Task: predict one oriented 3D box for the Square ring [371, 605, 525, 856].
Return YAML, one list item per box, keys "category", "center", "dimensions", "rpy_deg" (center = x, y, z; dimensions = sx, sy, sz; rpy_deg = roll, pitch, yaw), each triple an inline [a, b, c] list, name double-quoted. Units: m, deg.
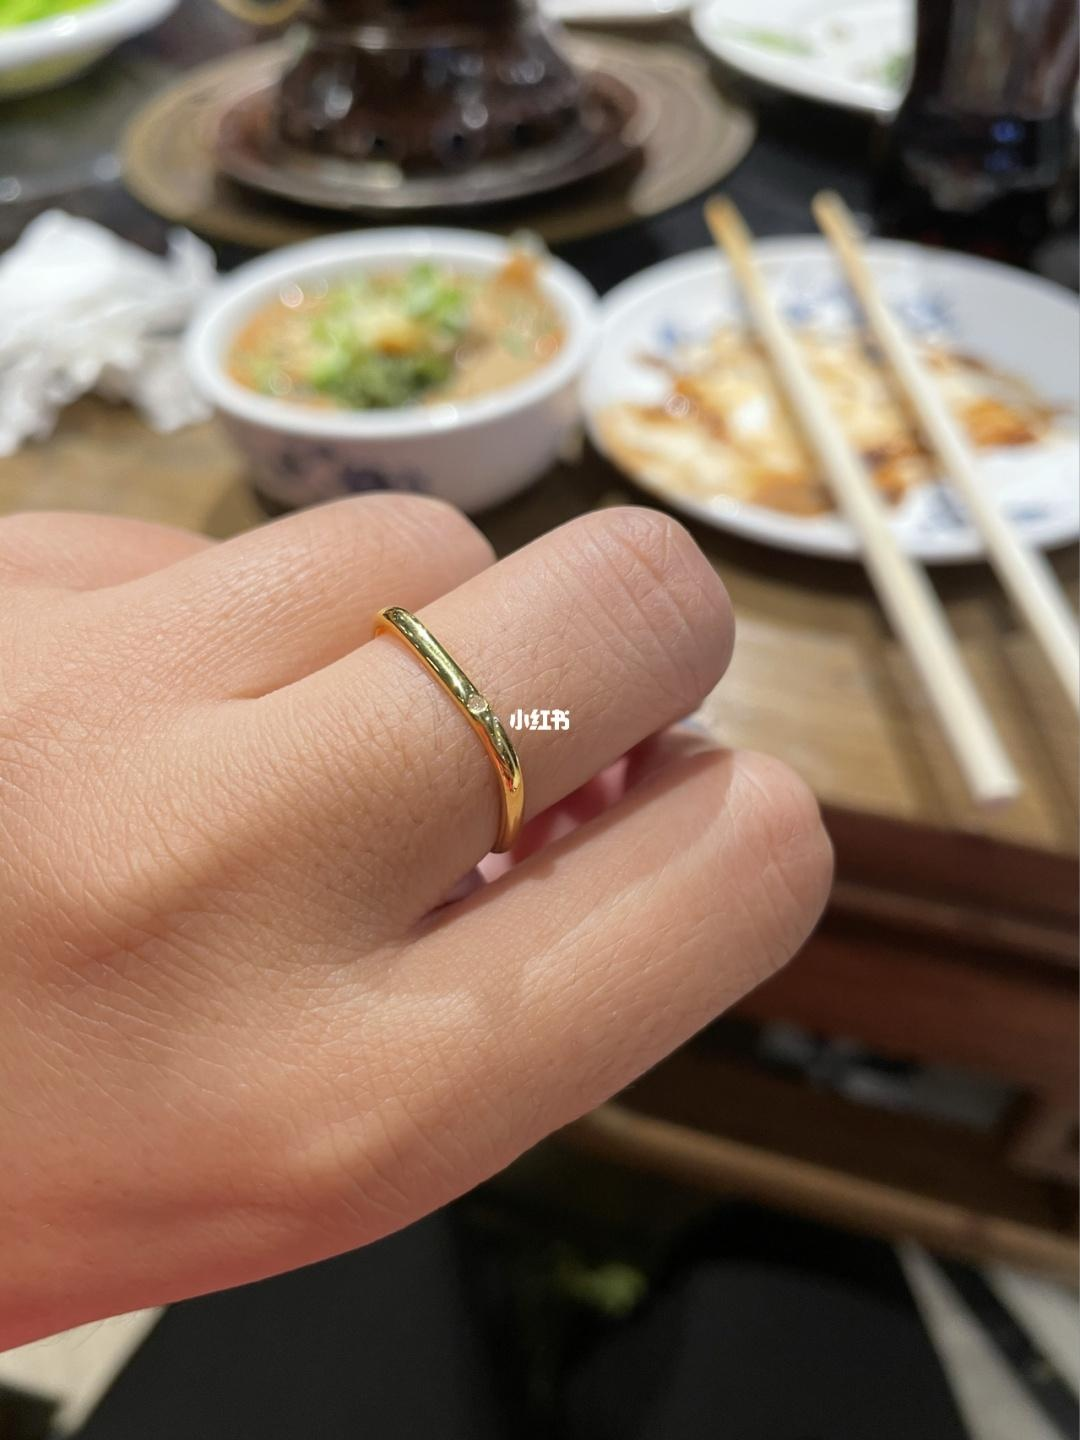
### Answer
- category: "Square ring"
  center: [-0.025, 0.001, 0.403]
  dimensions: [0.015, 0.063, 0.064]
  rpy_deg: [-27, 47, -21]
